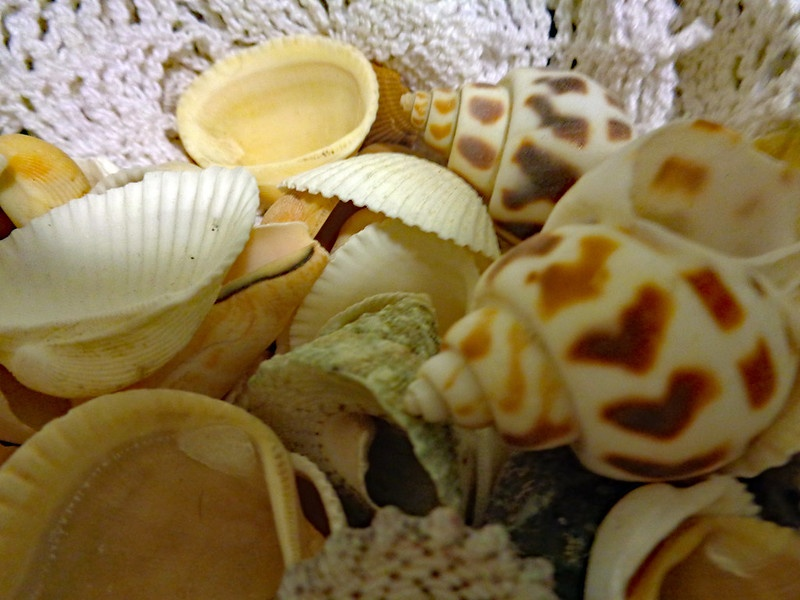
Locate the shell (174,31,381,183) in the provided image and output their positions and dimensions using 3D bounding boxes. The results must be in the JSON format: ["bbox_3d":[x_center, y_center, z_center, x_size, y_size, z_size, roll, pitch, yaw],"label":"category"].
[{"bbox_3d":[-0.153,-0.256,1.141,0.254,0.095,0.264,-37,45,-7],"label":"shell"}]

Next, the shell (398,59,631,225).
[{"bbox_3d":[0.135,-0.192,0.872,0.227,0.116,0.177,12,28,8],"label":"shell"}]
